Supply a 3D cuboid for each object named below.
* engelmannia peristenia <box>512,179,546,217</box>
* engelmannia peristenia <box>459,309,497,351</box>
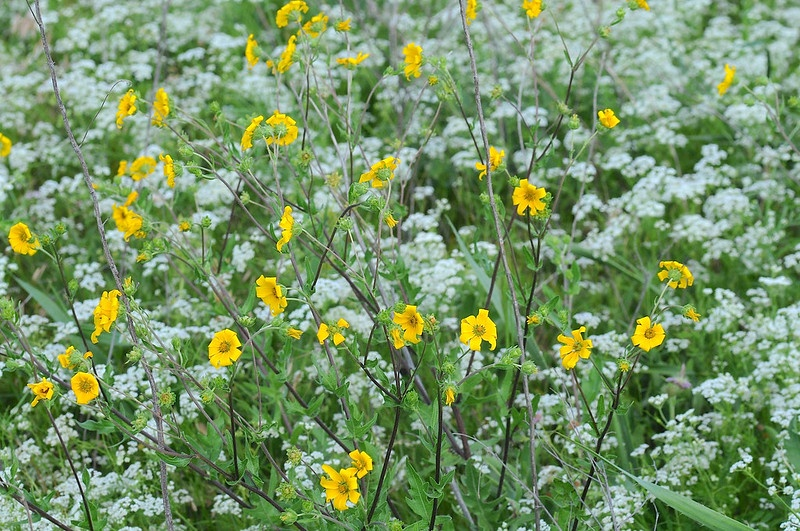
[{"bbox_3d":[0.622,-0.315,4.215,0.170,0.159,0.050,-51,2,19],"label":"engelmannia peristenia"},{"bbox_3d":[0.364,0.303,4.107,0.180,0.084,0.213,-10,24,-5],"label":"engelmannia peristenia"}]
